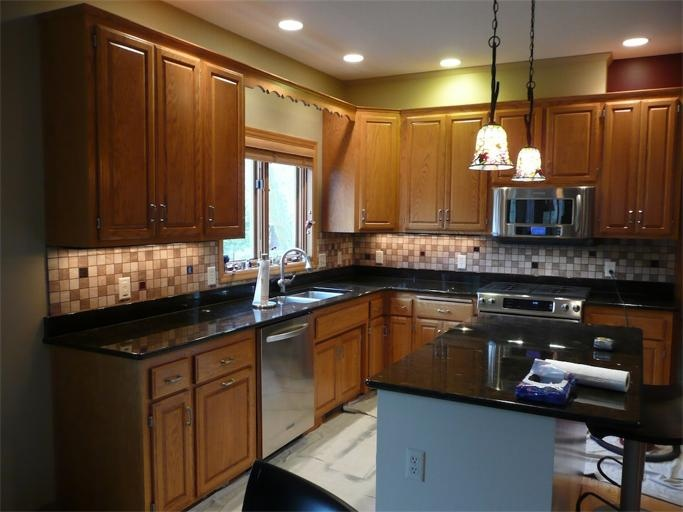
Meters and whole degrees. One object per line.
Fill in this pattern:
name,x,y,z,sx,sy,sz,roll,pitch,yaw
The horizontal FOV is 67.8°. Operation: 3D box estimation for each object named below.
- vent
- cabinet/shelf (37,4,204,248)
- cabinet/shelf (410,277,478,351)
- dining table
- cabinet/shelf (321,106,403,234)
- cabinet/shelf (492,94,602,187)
vent,1.850,-0.406,4.746,0.835,0.556,0.485,2,11,21
cabinet/shelf,-1.380,-0.736,3.008,0.725,1.333,0.356,-4,9,-31
cabinet/shelf,1.133,0.534,4.889,0.567,0.880,0.589,0,-2,25
dining table,0.948,0.855,2.744,1.123,0.690,1.404,5,9,32
cabinet/shelf,0.189,-0.850,5.086,0.772,1.179,0.258,1,8,7
cabinet/shelf,1.751,-0.966,4.210,0.951,0.955,0.384,1,0,28
